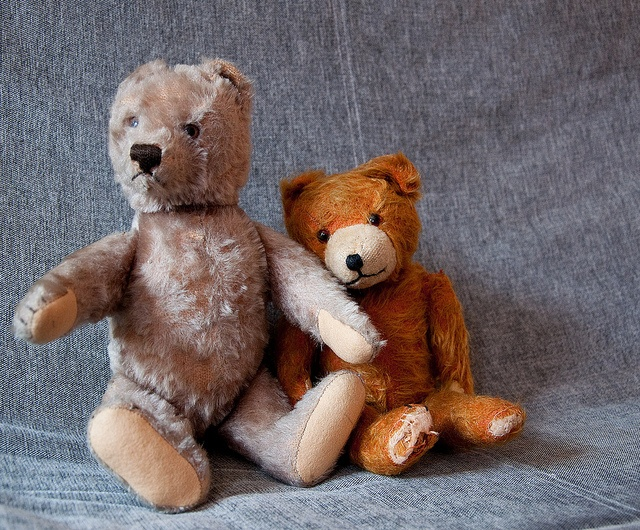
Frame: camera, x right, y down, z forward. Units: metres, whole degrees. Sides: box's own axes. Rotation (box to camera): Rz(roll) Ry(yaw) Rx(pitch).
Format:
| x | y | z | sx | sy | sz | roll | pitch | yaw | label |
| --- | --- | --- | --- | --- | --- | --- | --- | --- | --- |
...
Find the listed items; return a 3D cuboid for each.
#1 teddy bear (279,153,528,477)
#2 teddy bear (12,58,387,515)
| x | y | z | sx | sy | sz | roll | pitch | yaw | label |
| --- | --- | --- | --- | --- | --- | --- | --- | --- | --- |
| 0.097 | 0.089 | 1.499 | 0.395 | 0.518 | 0.461 | -12 | 10 | -1 | teddy bear |
| -0.216 | 0.012 | 1.393 | 0.640 | 0.671 | 0.468 | -6 | 18 | -18 | teddy bear |
